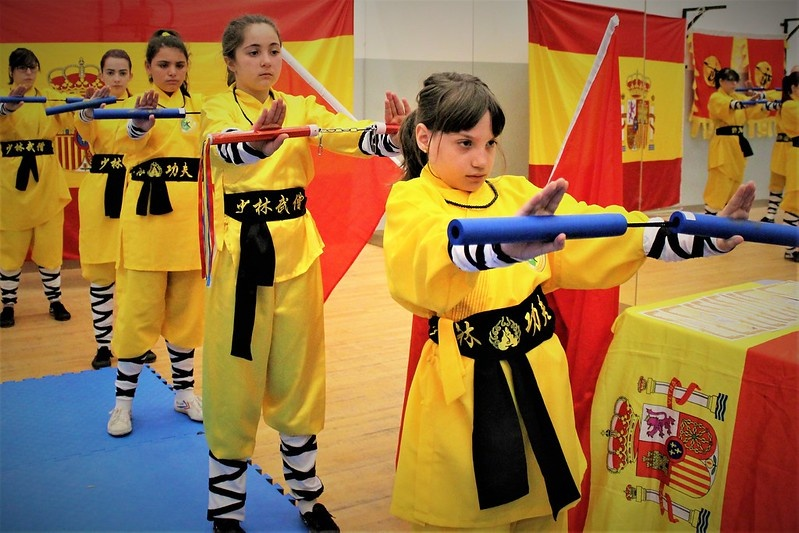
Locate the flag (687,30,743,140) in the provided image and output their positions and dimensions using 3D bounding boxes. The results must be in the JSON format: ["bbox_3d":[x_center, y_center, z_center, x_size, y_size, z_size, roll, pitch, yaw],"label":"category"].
[{"bbox_3d":[3.417,-1.980,7.168,1.277,1.605,0.139,-14,14,-40],"label":"flag"}]

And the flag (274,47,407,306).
[{"bbox_3d":[-0.327,-0.139,3.469,0.371,0.533,2.605,19,-28,-5],"label":"flag"}]

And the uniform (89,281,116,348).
[{"bbox_3d":[-1.841,0.359,4.113,0.115,0.100,0.416,-6,32,-20],"label":"uniform"}]

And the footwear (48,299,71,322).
[{"bbox_3d":[-2.463,0.324,4.824,0.098,0.084,0.212,-8,12,-39],"label":"footwear"}]

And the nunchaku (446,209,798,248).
[{"bbox_3d":[0.607,-0.106,1.906,0.969,0.099,0.094,-3,-3,-18],"label":"nunchaku"}]

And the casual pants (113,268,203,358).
[{"bbox_3d":[-1.217,0.186,3.476,0.181,0.473,0.545,10,13,41],"label":"casual pants"}]

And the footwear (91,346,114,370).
[{"bbox_3d":[-1.833,0.560,4.104,0.080,0.071,0.178,0,1,-12],"label":"footwear"}]
